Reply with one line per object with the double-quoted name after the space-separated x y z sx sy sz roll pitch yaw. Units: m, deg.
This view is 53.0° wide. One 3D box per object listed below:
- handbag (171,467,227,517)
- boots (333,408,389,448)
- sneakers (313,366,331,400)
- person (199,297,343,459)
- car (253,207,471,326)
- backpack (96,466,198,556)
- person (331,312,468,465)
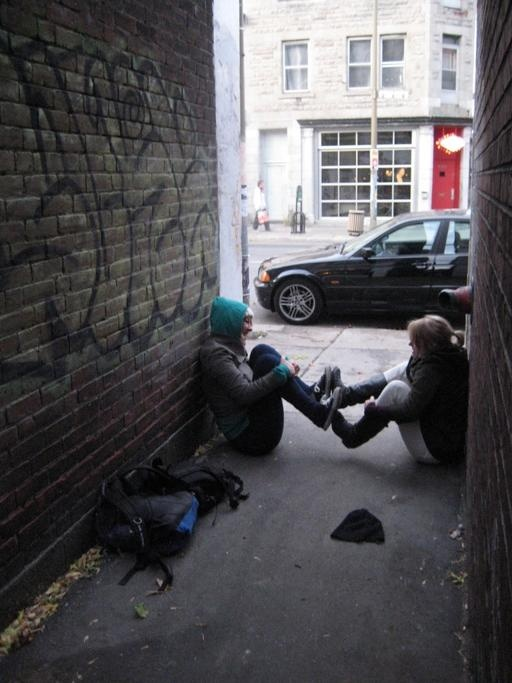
-0.355 0.912 3.337 0.298 0.272 0.335 -4 21 -29 "handbag"
0.833 0.699 4.058 0.379 0.265 0.123 -40 -14 32 "boots"
0.586 0.389 4.522 0.114 0.347 0.107 21 24 16 "sneakers"
0.091 0.205 4.144 0.964 1.336 0.715 -11 6 1 "person"
1.636 -1.322 8.648 3.238 1.453 1.599 1 12 8 "car"
-0.605 0.960 2.961 0.477 0.415 0.513 1 10 10 "backpack"
1.304 0.225 4.115 1.085 1.339 0.802 9 22 34 "person"
